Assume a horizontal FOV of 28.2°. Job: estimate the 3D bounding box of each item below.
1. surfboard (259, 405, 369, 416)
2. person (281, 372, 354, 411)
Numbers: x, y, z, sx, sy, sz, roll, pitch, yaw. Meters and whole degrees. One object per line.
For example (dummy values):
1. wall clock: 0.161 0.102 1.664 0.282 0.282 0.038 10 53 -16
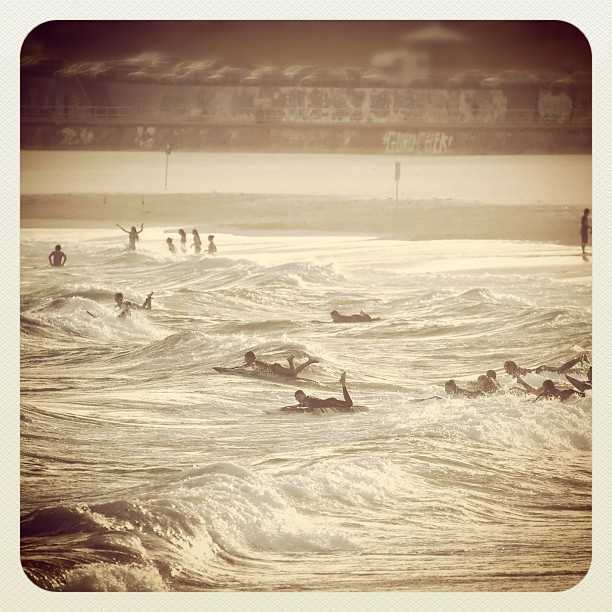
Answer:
1. surfboard: 0.083 1.084 12.658 1.118 0.104 0.310 0 6 4
2. person: 0.111 0.891 12.741 0.853 0.396 0.246 -3 17 31
